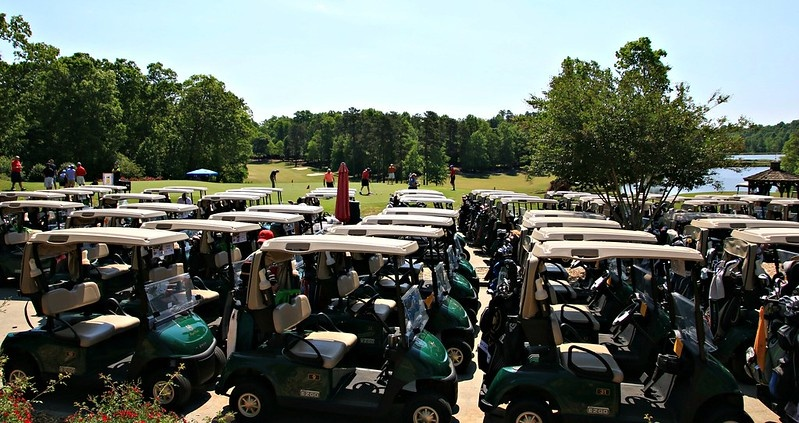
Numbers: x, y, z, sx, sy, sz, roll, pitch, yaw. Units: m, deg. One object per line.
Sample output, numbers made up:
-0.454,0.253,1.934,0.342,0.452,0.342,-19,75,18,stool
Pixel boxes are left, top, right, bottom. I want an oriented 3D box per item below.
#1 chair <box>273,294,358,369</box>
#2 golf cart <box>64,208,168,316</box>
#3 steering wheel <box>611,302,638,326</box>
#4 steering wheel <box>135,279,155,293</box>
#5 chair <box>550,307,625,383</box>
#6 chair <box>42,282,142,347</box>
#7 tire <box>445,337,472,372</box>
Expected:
-1.979,2.905,13.609,1.800,1.466,1.712,-1,4,5,chair
-8.951,1.463,17.352,3.311,3.092,2.064,10,3,2,golf cart
5.714,2.525,13.784,0.592,0.132,0.584,-30,5,3,steering wheel
-6.358,1.864,13.693,0.289,0.083,0.322,-31,-13,18,steering wheel
4.548,3.225,13.665,1.817,2.010,2.737,1,3,17,chair
-7.786,2.549,13.887,1.744,0.974,1.746,10,10,24,chair
1.514,3.709,14.266,0.709,0.689,0.268,-30,0,16,tire
